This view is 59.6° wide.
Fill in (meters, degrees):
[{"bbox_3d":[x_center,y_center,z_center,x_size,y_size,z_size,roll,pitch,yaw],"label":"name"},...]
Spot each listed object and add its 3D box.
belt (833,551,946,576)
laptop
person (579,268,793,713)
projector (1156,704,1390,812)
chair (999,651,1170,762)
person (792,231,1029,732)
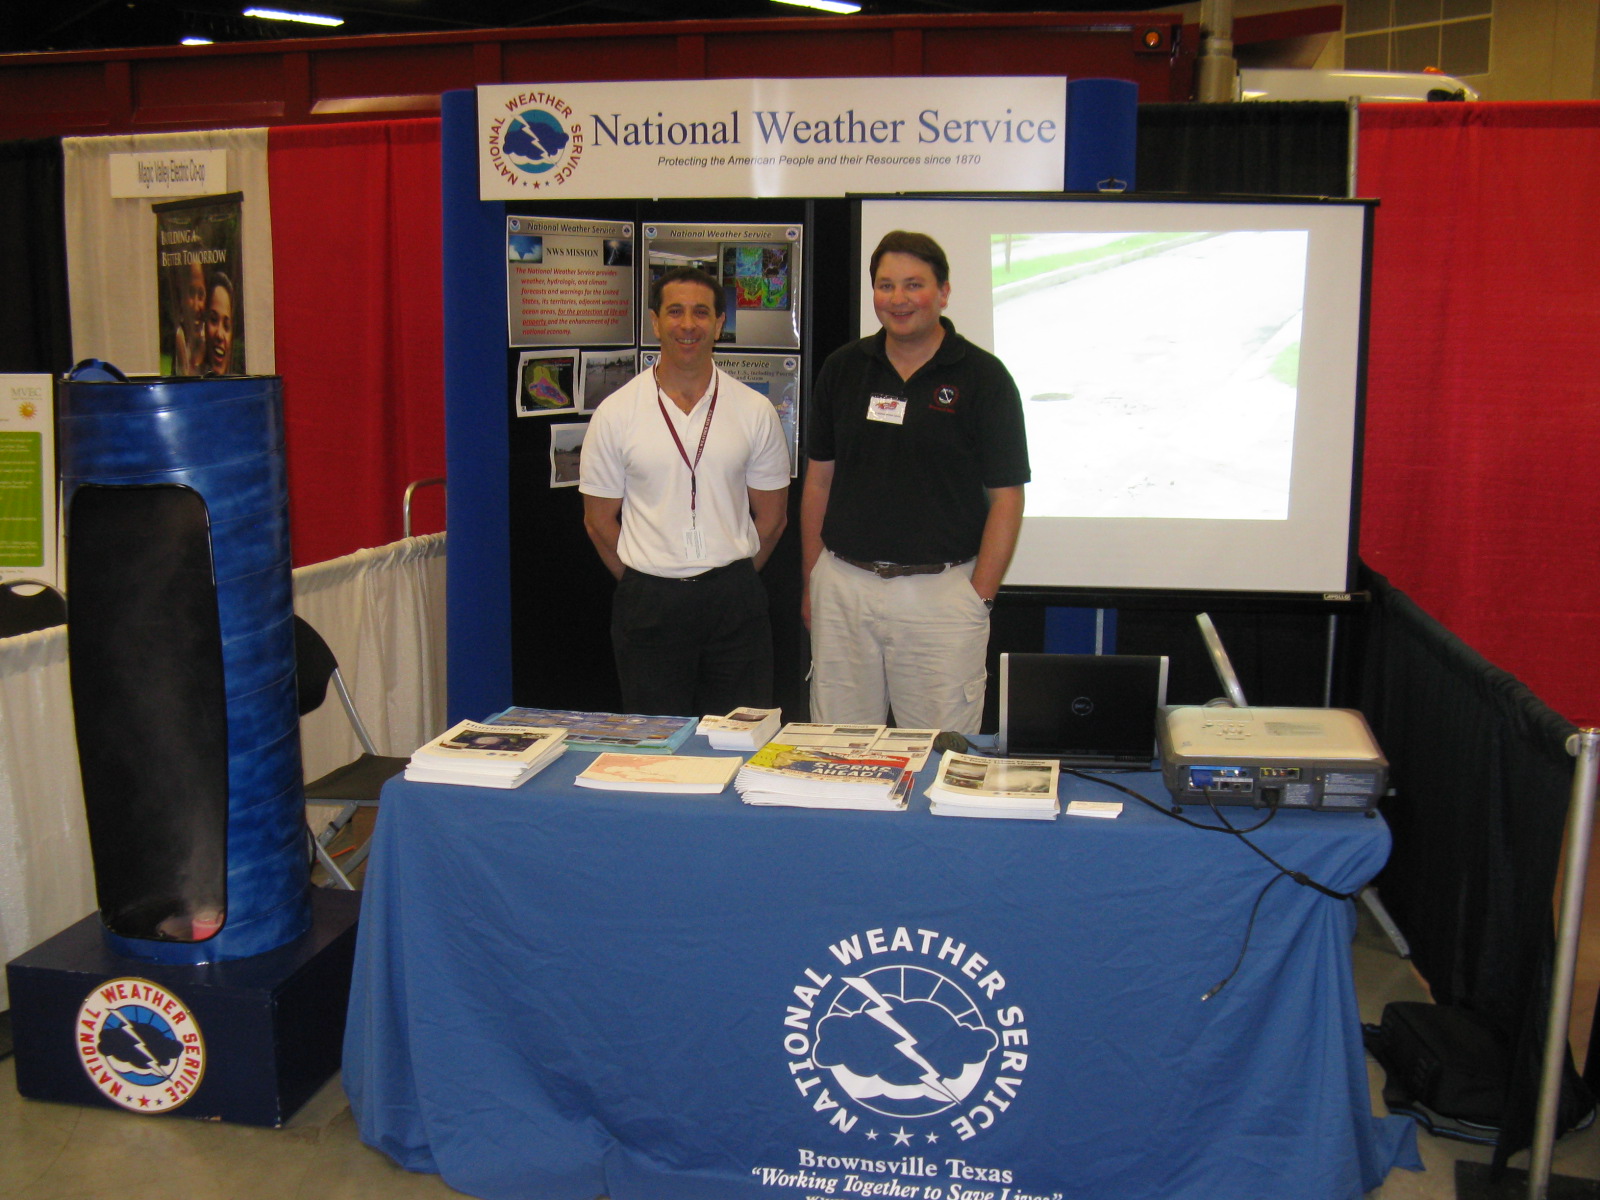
[{"bbox_3d":[0.284,-0.101,4.245,0.321,0.054,0.058,2,14,11],"label":"belt"},{"bbox_3d":[0.702,0.264,3.442,0.377,0.291,0.274,2,4,5],"label":"laptop"},{"bbox_3d":[-0.360,-0.323,4.476,0.671,1.447,0.292,-3,14,-11],"label":"person"},{"bbox_3d":[1.120,0.371,3.345,0.504,0.179,0.301,1,14,5],"label":"projector"},{"bbox_3d":[0.694,0.261,3.442,0.364,0.281,0.269,2,4,5],"label":"chair"},{"bbox_3d":[0.348,-0.357,4.290,0.684,1.509,0.394,-1,13,0],"label":"person"}]
